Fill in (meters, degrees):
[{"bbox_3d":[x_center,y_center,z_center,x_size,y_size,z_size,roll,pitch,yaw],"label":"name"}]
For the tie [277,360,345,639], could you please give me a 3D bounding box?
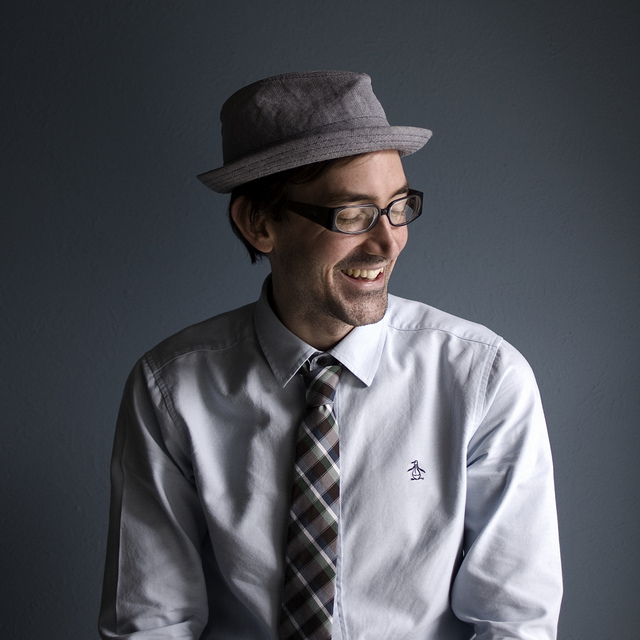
[{"bbox_3d":[-0.016,0.348,1.828,0.161,0.543,0.077,-3,-13,0],"label":"tie"}]
